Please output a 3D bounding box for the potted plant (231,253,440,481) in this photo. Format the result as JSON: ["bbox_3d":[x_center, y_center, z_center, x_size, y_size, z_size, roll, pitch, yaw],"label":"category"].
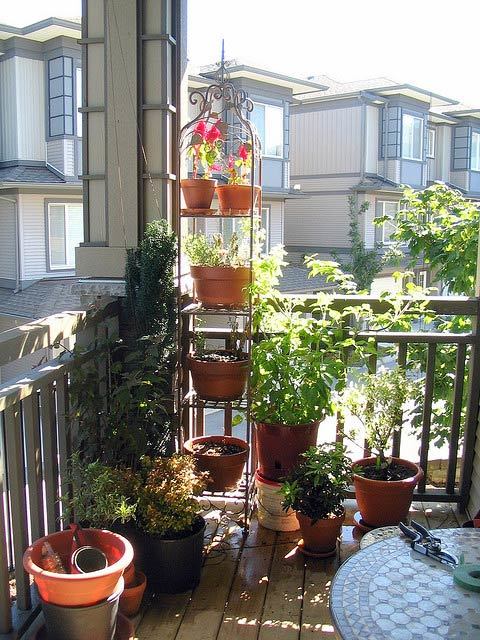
[{"bbox_3d":[0.605,0.540,2.238,0.349,0.612,0.286,5,-1,-15],"label":"potted plant"}]

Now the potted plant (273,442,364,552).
[{"bbox_3d":[0.304,0.702,2.152,0.292,0.394,0.281,1,8,-4],"label":"potted plant"}]

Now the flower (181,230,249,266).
[{"bbox_3d":[-0.110,-0.312,2.390,0.223,0.146,0.355,-6,9,-42],"label":"flower"}]

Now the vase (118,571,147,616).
[{"bbox_3d":[-0.343,0.895,1.781,0.099,0.101,0.102,-10,10,-36],"label":"vase"}]

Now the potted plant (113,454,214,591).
[{"bbox_3d":[-0.281,0.720,1.959,0.322,0.421,0.341,1,10,-10],"label":"potted plant"}]

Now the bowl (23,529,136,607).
[{"bbox_3d":[-0.405,0.647,1.381,0.219,0.085,0.208,13,7,-2],"label":"bowl"}]

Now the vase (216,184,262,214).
[{"bbox_3d":[0.010,-0.490,2.287,0.154,0.087,0.152,-7,10,-44],"label":"vase"}]

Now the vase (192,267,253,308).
[{"bbox_3d":[-0.068,-0.161,2.363,0.179,0.200,0.204,-2,12,-40],"label":"vase"}]

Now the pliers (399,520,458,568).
[{"bbox_3d":[0.407,0.491,1.171,0.045,0.039,0.198,12,-8,-7],"label":"pliers"}]

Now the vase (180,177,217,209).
[{"bbox_3d":[-0.181,-0.554,2.377,0.153,0.148,0.195,-1,7,-6],"label":"vase"}]

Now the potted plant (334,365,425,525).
[{"bbox_3d":[0.578,0.524,2.275,0.342,0.668,0.318,1,8,1],"label":"potted plant"}]

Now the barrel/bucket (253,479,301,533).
[{"bbox_3d":[0.156,0.796,2.359,0.230,0.173,0.229,1,-1,0],"label":"barrel/bucket"}]
